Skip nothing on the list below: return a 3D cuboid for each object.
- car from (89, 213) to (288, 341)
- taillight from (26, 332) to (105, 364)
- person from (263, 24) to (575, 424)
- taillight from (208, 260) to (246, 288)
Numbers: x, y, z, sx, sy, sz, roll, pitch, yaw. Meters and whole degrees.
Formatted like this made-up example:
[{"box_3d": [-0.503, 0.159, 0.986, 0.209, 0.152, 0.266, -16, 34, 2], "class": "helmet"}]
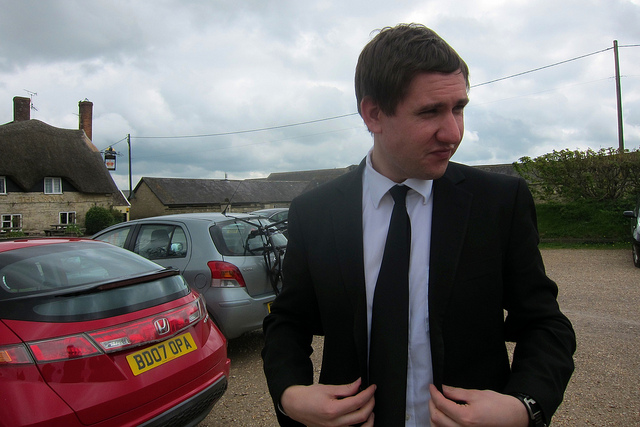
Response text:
[{"box_3d": [-1.713, 0.521, 5.574, 2.590, 1.252, 1.580, 3, 1, 29], "class": "car"}, {"box_3d": [-1.734, 0.939, 2.997, 0.446, 0.153, 0.086, -4, 4, -24], "class": "taillight"}, {"box_3d": [0.450, 0.024, 2.162, 1.448, 1.997, 0.640, -1, 4, 20], "class": "person"}, {"box_3d": [-1.064, 0.712, 5.000, 0.393, 0.212, 0.241, 0, 1, 38], "class": "taillight"}]
